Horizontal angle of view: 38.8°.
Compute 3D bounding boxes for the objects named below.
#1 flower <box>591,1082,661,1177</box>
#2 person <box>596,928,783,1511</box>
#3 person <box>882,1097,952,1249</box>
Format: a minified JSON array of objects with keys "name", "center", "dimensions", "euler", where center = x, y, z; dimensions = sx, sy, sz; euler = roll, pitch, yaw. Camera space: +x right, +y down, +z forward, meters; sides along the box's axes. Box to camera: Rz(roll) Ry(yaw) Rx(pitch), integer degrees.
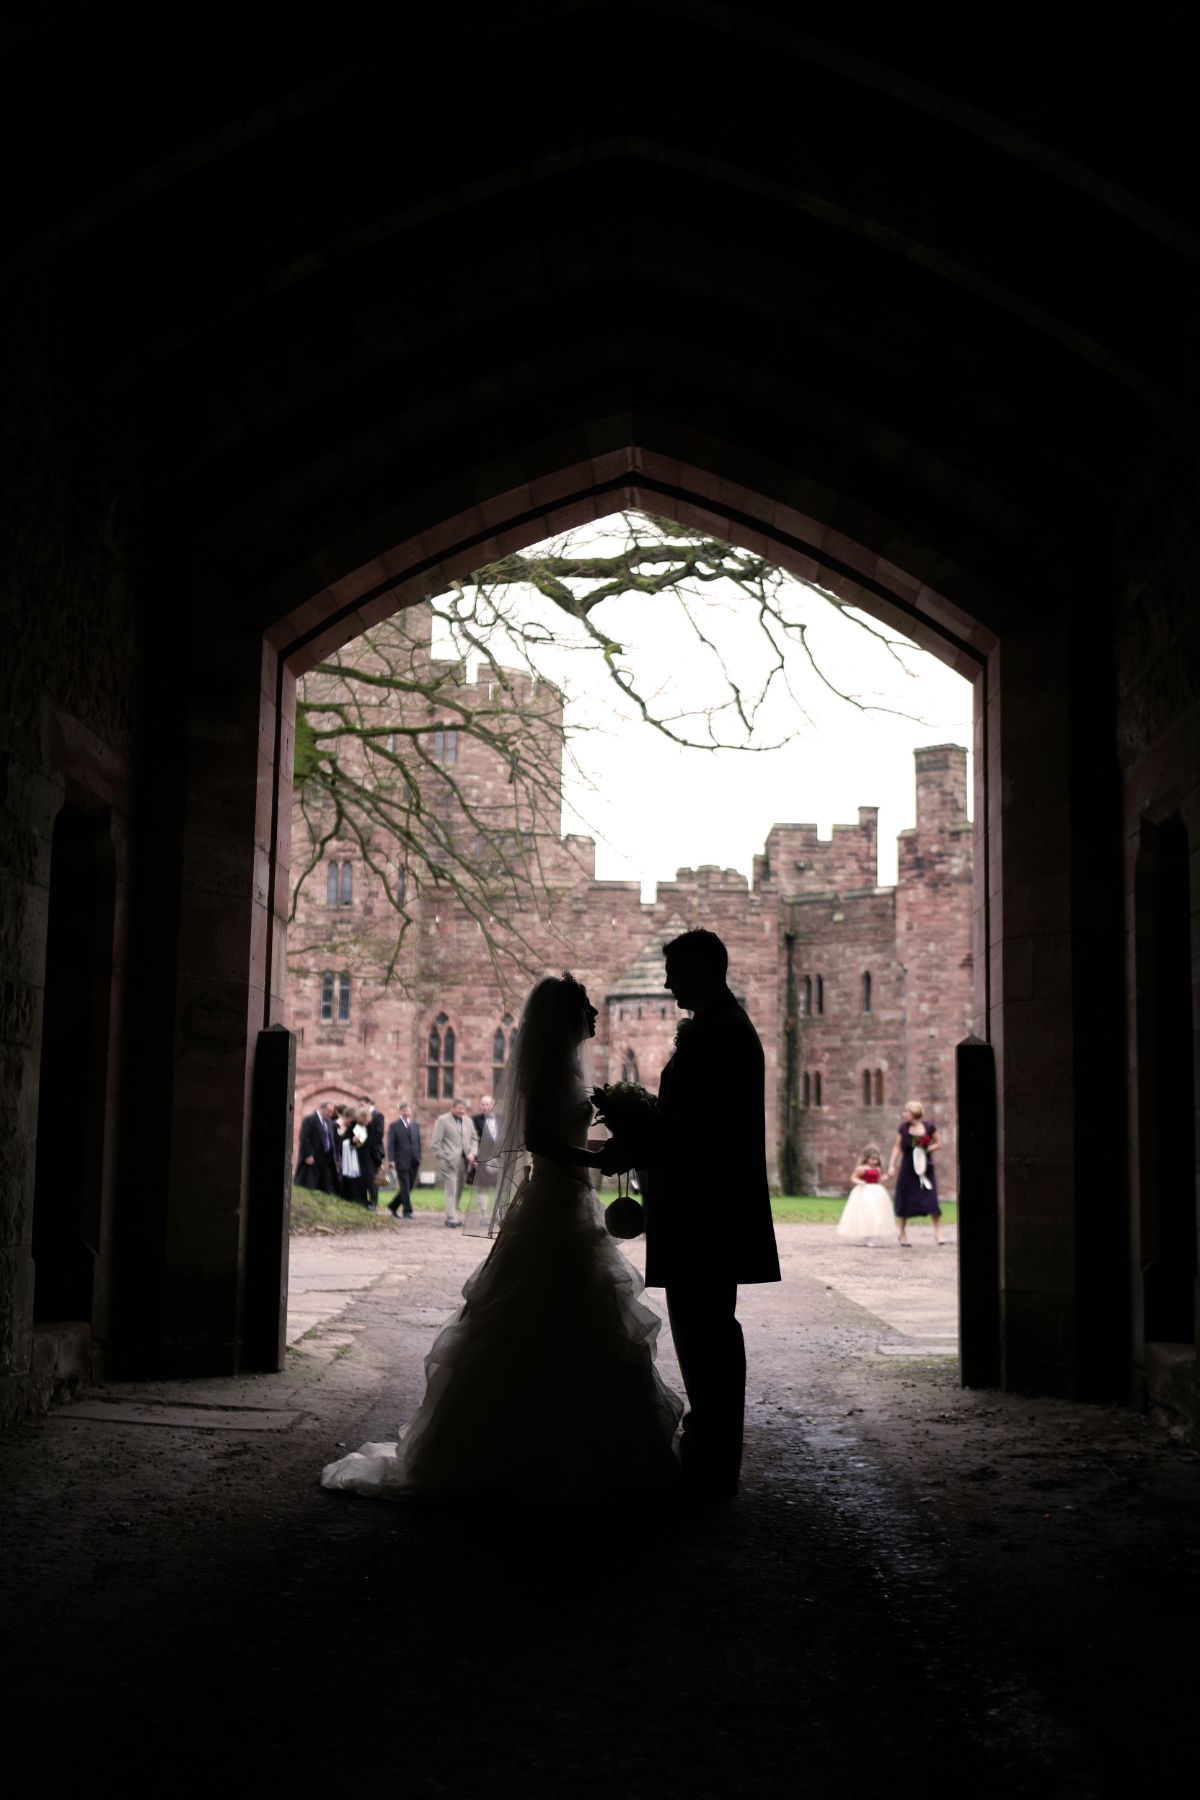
[{"name":"flower","center":[0.068,0.652,4.819],"dimensions":[0.219,0.262,0.204],"euler":[4,-12,-17]},{"name":"person","center":[0.238,0.840,4.684],"dimensions":[0.476,1.545,0.336],"euler":[0,-8,3]},{"name":"person","center":[3.274,2.843,17.761],"dimensions":[0.451,1.452,1.764],"euler":[-1,-9,9]}]
